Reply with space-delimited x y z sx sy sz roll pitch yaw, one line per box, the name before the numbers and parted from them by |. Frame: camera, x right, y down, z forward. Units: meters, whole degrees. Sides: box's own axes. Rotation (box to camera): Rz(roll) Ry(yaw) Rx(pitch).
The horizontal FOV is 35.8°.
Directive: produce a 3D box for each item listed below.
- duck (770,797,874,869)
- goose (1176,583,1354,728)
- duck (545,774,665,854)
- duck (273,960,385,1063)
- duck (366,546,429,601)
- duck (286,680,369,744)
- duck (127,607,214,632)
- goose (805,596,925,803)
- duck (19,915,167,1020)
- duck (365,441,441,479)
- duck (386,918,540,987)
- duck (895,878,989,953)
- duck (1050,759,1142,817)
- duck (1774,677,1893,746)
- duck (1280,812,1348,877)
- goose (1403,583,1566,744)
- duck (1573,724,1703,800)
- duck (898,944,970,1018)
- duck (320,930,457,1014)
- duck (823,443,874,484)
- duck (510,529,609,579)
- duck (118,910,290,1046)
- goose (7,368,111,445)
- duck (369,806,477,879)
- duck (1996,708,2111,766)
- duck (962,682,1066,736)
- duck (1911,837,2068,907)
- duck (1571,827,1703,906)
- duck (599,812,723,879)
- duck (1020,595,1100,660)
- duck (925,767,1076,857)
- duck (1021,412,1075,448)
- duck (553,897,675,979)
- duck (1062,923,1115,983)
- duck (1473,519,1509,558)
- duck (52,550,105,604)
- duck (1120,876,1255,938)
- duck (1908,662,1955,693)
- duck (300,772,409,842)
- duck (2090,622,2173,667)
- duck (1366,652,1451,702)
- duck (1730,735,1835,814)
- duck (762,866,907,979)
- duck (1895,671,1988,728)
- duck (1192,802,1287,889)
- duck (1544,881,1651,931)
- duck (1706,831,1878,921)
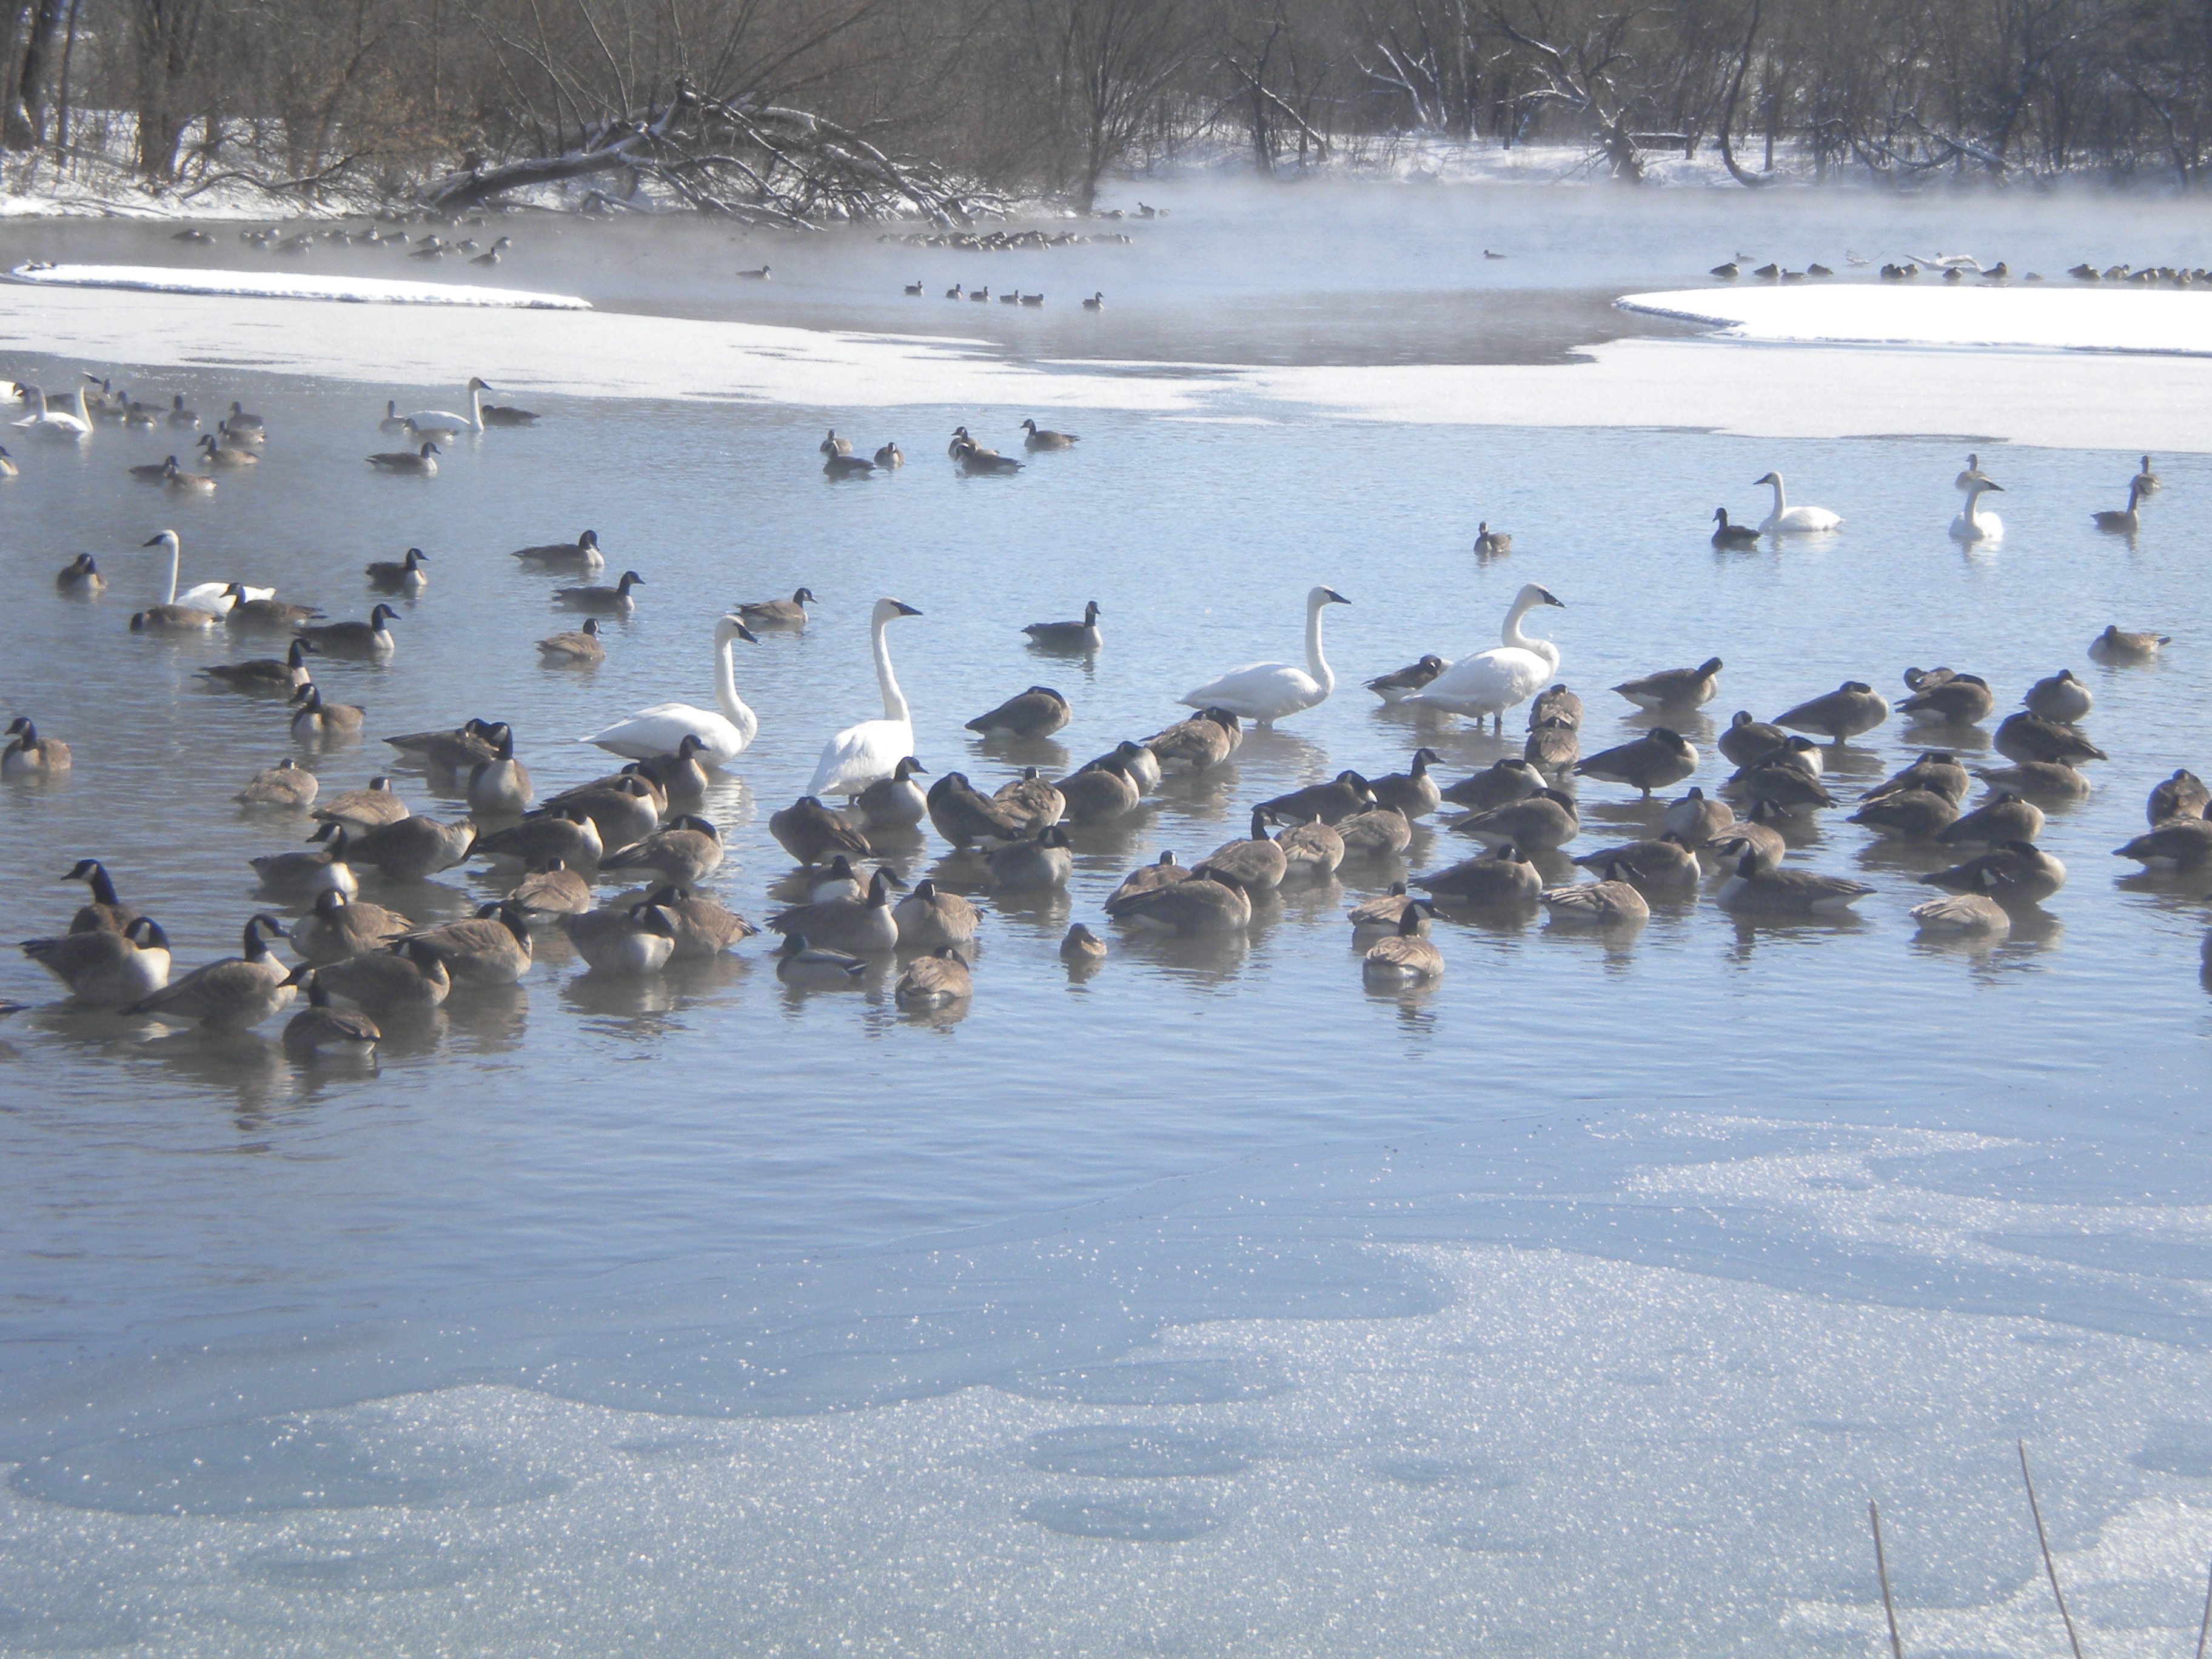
duck | -2.573 0.040 30.308 0.811 0.583 0.428 3 8 22
goose | 1.729 -1.779 35.723 2.276 1.409 1.602 6 21 -1
duck | -4.356 -0.151 30.493 1.052 0.502 0.633 6 8 20
duck | -6.056 1.431 26.612 0.742 0.698 0.630 -1 8 -11
duck | -8.256 -2.952 39.793 0.979 0.555 0.532 2 7 26
duck | -7.629 -1.146 33.326 0.656 0.574 0.739 -1 7 -8
duck | -10.181 -2.293 37.309 1.016 0.215 0.293 3 -3 -18
goose | -2.291 -0.903 32.473 1.822 1.769 1.380 -5 22 -9
duck | -7.880 1.100 26.784 1.300 0.771 0.577 15 31 -14
duck | -9.698 -5.152 47.466 1.110 0.515 0.524 3 10 5
duck | -5.115 0.969 27.446 1.131 0.498 0.478 6 12 -30
duck | -1.437 0.777 28.868 0.610 0.401 0.713 1 -3 4
duck | -0.160 -0.355 32.033 0.827 0.433 0.426 7 7 -37
duck | 7.396 -1.195 35.060 1.052 0.637 0.977 1 7 9
duck | 1.845 0.206 30.832 0.484 0.485 0.877 3 7 23
goose | 4.055 -1.820 36.308 1.382 1.527 2.608 2 7 11
duck | 5.118 -0.636 33.122 0.989 0.646 1.057 -3 8 -26
duck | -1.408 1.251 27.709 0.667 0.457 0.488 -3 8 -24
duck | -5.681 1.192 26.949 1.041 0.659 0.469 14 33 -29
duck | -3.740 -5.220 48.677 0.545 0.468 0.828 -8 0 6
duck | -6.676 -3.264 41.133 1.218 0.561 0.536 0 9 8
duck | -7.015 1.143 26.945 1.169 0.889 1.176 -2 7 -13
goose | -15.687 -6.015 50.129 1.847 0.921 0.640 0 12 22
duck | -6.013 0.068 29.546 1.111 0.317 0.597 13 -40 -29
duck | 9.172 -0.871 33.686 0.813 0.449 1.018 -6 9 -44
duck | -0.924 -1.174 34.046 0.966 0.446 0.436 0 11 -1
duck | 7.736 0.343 30.097 0.968 0.514 0.498 16 17 -17
duck | 4.817 0.349 30.583 1.071 0.638 0.531 27 -4 -9
duck | -3.862 0.177 29.873 0.802 0.517 0.891 2 7 16
duck | -0.418 -2.183 37.689 1.114 0.618 0.490 1 14 11
duck | -0.961 -0.183 30.948 1.203 0.552 0.696 0 -1 -5
duck | -1.003 -5.885 51.096 0.411 0.588 1.048 -6 9 17
duck | -4.068 0.900 28.118 0.931 0.475 0.619 9 10 22
duck | -0.214 1.012 28.554 0.410 0.304 0.486 -2 23 8
duck | 4.847 -3.643 43.185 0.501 0.220 0.498 2 50 8
duck | -11.656 -2.921 38.943 0.646 0.480 0.715 1 34 -10
duck | 0.621 0.667 29.105 1.054 0.494 0.496 3 -2 -21
duck | 8.709 -1.629 36.470 0.522 0.248 0.363 -7 -13 31
duck | -6.727 -0.184 30.420 0.558 0.563 0.989 7 -6 38
duck | 11.434 -2.064 38.260 0.773 0.300 0.894 -2 2 13
duck | 3.159 -1.666 36.296 1.031 0.308 0.533 -7 -22 -15
duck | 6.384 -0.513 32.530 0.711 0.645 1.167 2 -5 32
duck | -2.233 0.764 28.361 1.048 0.777 0.849 -2 7 -13
duck | 8.747 -1.389 35.773 0.945 0.484 0.620 7 9 44
duck | 1.231 0.269 30.131 0.966 0.481 0.562 -11 14 -41
duck | 4.210 0.654 29.620 0.866 0.431 0.417 4 3 -29
duck | 6.074 0.506 30.117 1.350 0.725 0.642 -2 -4 20
